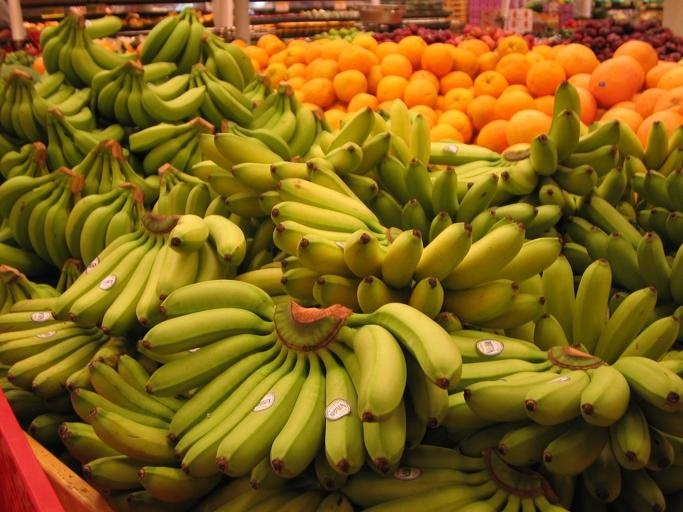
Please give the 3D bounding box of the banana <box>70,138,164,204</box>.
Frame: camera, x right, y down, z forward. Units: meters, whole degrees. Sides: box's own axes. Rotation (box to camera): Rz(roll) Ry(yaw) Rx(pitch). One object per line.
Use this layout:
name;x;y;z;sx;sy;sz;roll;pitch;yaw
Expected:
banana;-0.945;-0.331;2.625;0.176;0.227;0.323;-22;1;-14

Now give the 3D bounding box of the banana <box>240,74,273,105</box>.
banana;-0.405;-0.795;3.046;0.110;0.103;0.195;29;38;-6

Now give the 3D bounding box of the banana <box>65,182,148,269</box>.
banana;-0.857;-0.104;2.275;0.169;0.255;0.172;31;23;-3

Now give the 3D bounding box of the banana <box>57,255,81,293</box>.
banana;-1.054;0.079;2.455;0.082;0.155;0.049;36;32;18
